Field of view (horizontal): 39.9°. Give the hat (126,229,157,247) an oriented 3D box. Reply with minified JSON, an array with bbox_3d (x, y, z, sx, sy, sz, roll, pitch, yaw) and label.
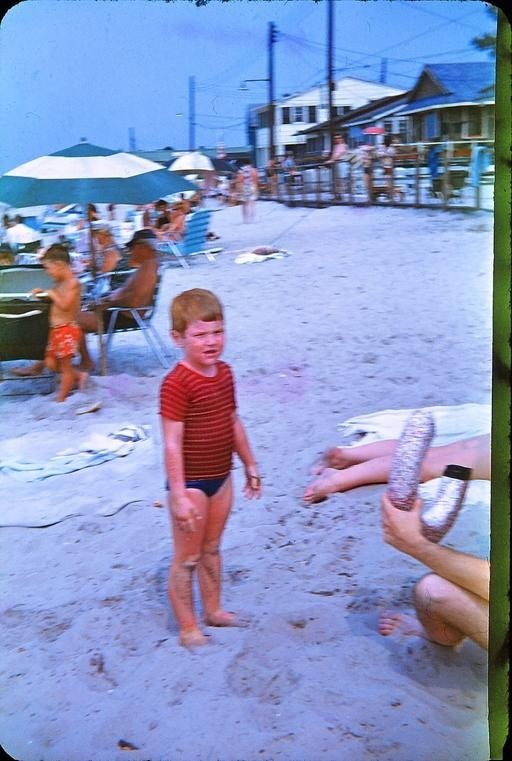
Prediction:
[{"bbox_3d":[-0.949,-1.200,5.905,0.244,0.088,0.235,-11,9,3],"label":"hat"}]

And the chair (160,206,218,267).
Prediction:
[{"bbox_3d":[-0.770,-1.736,8.557,0.520,0.726,0.565,12,17,32],"label":"chair"}]

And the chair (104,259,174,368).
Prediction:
[{"bbox_3d":[-1.018,-0.628,6.115,0.840,1.085,0.810,2,15,-6],"label":"chair"}]
